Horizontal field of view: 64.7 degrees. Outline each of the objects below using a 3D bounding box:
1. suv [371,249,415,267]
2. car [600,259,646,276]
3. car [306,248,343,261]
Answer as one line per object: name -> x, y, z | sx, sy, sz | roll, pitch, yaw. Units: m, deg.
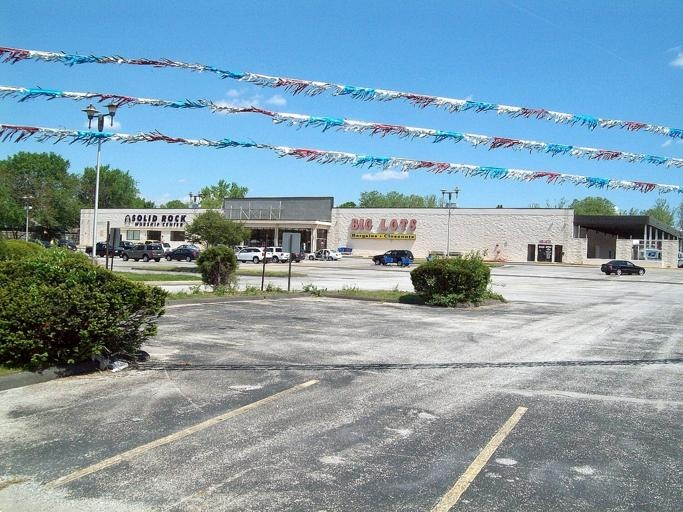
suv -> 5.657, 0.241, 58.209 | 3.550, 1.563, 3.464 | 2, 3, 12
car -> 25.289, 1.060, 48.535 | 4.137, 1.213, 1.246 | 0, 4, -27
car -> -2.400, -0.150, 66.697 | 3.520, 0.798, 1.751 | 4, 3, 23
